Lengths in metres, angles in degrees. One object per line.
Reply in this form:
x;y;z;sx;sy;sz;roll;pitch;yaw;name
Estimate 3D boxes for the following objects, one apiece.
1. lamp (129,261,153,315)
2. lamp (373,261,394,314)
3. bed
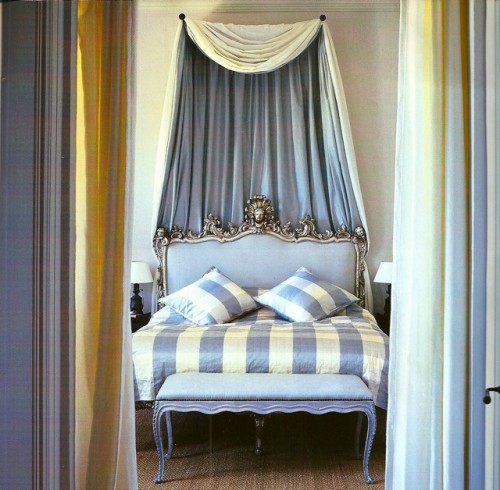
-0.766;0.304;5.021;0.219;0.363;0.223;-10;-14;44;lamp
0.946;0.240;5.011;0.142;0.269;0.159;-8;2;-22;lamp
0.099;0.329;4.416;1.360;1.473;1.964;0;-1;-3;bed
